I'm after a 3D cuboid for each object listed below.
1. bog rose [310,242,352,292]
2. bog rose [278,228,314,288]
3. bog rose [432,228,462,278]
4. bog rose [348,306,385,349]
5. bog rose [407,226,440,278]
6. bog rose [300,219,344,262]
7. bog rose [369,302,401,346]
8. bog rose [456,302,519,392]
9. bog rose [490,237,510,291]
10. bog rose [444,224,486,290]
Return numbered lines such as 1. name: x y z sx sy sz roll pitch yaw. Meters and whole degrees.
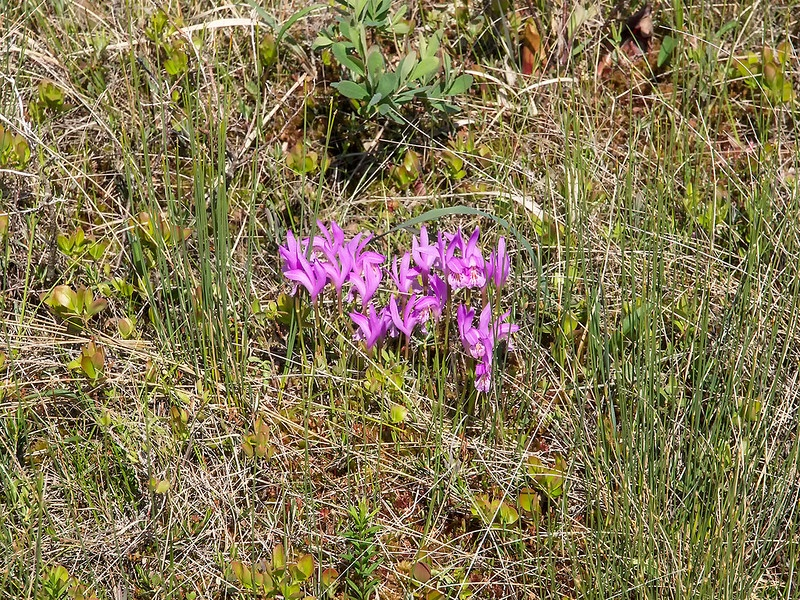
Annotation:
1. bog rose: -0.227 -0.110 2.716 0.106 0.104 0.146 -8 51 -2
2. bog rose: -0.384 -0.152 2.710 0.066 0.148 0.206 -4 95 17
3. bog rose: 0.162 -0.172 2.696 0.051 0.131 0.150 3 66 13
4. bog rose: -0.121 0.091 2.728 0.103 0.136 0.167 -1 105 -13
5. bog rose: 0.088 -0.174 2.656 0.112 0.070 0.123 -19 30 -25
6. bog rose: -0.276 -0.177 2.761 0.129 0.084 0.164 23 94 47
7. bog rose: -0.073 0.068 2.761 0.109 0.128 0.151 24 97 7
8. bog rose: 0.281 0.127 2.723 0.125 0.240 0.164 4 45 3
9. bog rose: 0.351 -0.124 2.704 0.050 0.218 0.082 4 44 9
10. bog rose: 0.196 -0.177 2.655 0.125 0.208 0.107 27 97 17
